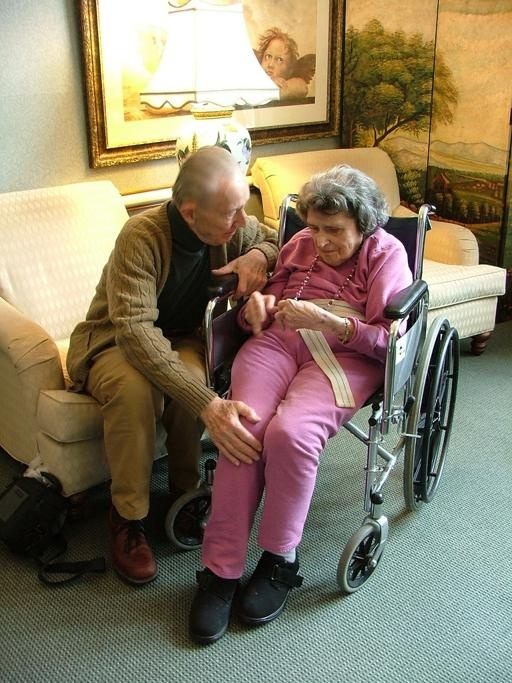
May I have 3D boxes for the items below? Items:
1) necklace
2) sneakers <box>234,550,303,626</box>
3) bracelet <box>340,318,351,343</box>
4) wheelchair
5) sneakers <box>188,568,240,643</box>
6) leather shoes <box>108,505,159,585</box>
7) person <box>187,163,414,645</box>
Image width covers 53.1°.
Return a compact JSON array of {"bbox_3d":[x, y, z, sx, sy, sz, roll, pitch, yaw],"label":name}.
[{"bbox_3d":[0.143,-0.168,1.342,0.099,0.023,0.169,8,61,33],"label":"necklace"},{"bbox_3d":[0.043,0.516,1.124,0.109,0.097,0.228,2,13,24],"label":"sneakers"},{"bbox_3d":[0.200,-0.024,1.139,0.015,0.044,0.033,15,-8,-21],"label":"bracelet"},{"bbox_3d":[0.194,0.096,1.422,0.616,0.875,0.722,10,20,28],"label":"wheelchair"},{"bbox_3d":[-0.093,0.546,1.052,0.084,0.112,0.103,1,13,11],"label":"sneakers"},{"bbox_3d":[-0.298,0.514,1.250,0.089,0.117,0.134,-8,15,-26],"label":"leather shoes"},{"bbox_3d":[0.128,0.079,1.215,0.437,0.961,0.745,2,14,16],"label":"person"}]
